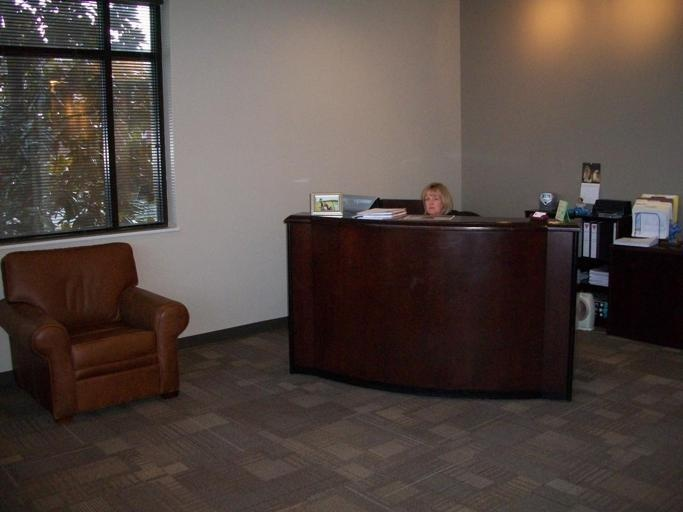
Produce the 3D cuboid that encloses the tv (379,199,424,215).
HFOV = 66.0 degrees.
[{"bbox_3d":[0.623,-0.520,5.311,0.333,0.195,0.227,0,-1,9],"label":"tv"}]

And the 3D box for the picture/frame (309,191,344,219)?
[{"bbox_3d":[-0.149,-0.488,4.878,0.378,0.275,0.208,1,2,6],"label":"picture/frame"}]

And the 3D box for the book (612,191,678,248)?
[{"bbox_3d":[3.344,-0.407,5.895,0.752,0.563,0.480,-7,8,-41],"label":"book"}]
